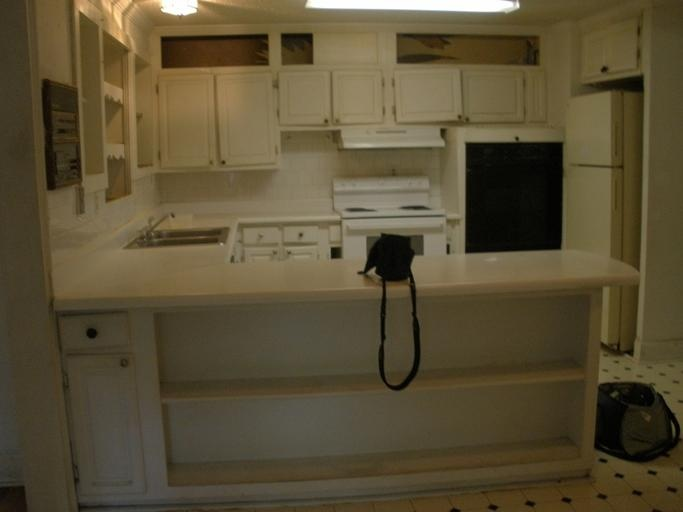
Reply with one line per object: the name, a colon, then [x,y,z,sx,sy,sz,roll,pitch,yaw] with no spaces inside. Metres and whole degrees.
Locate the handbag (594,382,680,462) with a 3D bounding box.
handbag: [1.647,0.946,3.409,0.351,0.353,0.485,-5,3,-15]

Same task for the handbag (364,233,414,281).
handbag: [0.242,-0.006,2.836,0.191,0.216,0.226,7,16,23]

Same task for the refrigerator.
refrigerator: [2.044,-0.609,4.602,0.252,1.331,0.701,-5,11,-27]
